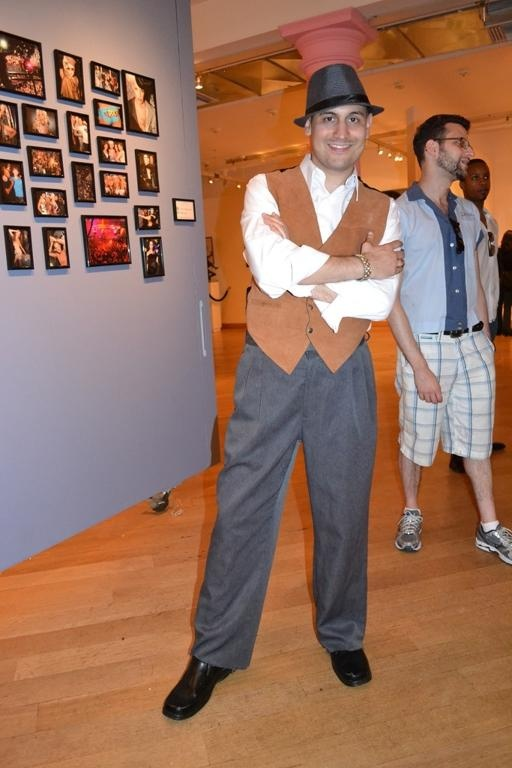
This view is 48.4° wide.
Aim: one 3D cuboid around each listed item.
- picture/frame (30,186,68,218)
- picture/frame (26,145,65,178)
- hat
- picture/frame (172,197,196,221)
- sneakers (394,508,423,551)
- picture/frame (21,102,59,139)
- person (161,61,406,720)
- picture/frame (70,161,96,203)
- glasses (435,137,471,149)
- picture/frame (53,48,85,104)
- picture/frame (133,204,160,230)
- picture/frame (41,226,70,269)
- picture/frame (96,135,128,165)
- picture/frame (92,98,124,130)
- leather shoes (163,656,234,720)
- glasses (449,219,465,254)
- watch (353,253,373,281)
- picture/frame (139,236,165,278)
[{"bbox_3d":[-0.840,-0.729,2.279,0.016,0.101,0.151,5,15,22],"label":"picture/frame"},{"bbox_3d":[-0.844,-0.878,2.246,0.017,0.115,0.165,11,16,25],"label":"picture/frame"},{"bbox_3d":[0.184,-0.680,1.334,0.212,0.106,0.204,7,26,34],"label":"hat"},{"bbox_3d":[-0.397,-0.939,3.065,0.015,0.105,0.150,3,17,27],"label":"picture/frame"},{"bbox_3d":[0.625,0.599,2.299,0.073,0.088,0.194,0,8,12],"label":"sneakers"},{"bbox_3d":[-0.852,-1.024,2.213,0.018,0.120,0.178,9,17,23],"label":"picture/frame"},{"bbox_3d":[0.121,0.041,1.403,0.565,1.536,0.325,-9,10,-36],"label":"person"},{"bbox_3d":[-0.748,-0.864,2.435,0.028,0.198,0.172,6,16,24],"label":"picture/frame"},{"bbox_3d":[0.739,-0.884,2.095,0.129,0.043,0.042,-6,8,-18],"label":"glasses"},{"bbox_3d":[-0.773,-1.258,2.347,0.038,0.196,0.155,0,8,22],"label":"picture/frame"},{"bbox_3d":[-0.540,-0.822,2.840,0.038,0.136,0.197,0,8,22],"label":"picture/frame"},{"bbox_3d":[-0.823,-0.553,2.336,0.022,0.179,0.125,1,9,27],"label":"picture/frame"},{"bbox_3d":[-0.663,-1.060,2.580,0.022,0.117,0.171,4,11,23],"label":"picture/frame"},{"bbox_3d":[-0.674,-1.213,2.555,0.021,0.131,0.190,5,14,24],"label":"picture/frame"},{"bbox_3d":[-0.156,0.759,1.472,0.072,0.092,0.218,10,7,32],"label":"leather shoes"},{"bbox_3d":[0.753,-0.555,2.128,0.049,0.138,0.066,0,8,20],"label":"glasses"},{"bbox_3d":[0.238,-0.264,1.280,0.022,0.055,0.047,0,13,6],"label":"watch"},{"bbox_3d":[-0.528,-0.633,2.841,0.015,0.209,0.199,1,13,26],"label":"picture/frame"}]
